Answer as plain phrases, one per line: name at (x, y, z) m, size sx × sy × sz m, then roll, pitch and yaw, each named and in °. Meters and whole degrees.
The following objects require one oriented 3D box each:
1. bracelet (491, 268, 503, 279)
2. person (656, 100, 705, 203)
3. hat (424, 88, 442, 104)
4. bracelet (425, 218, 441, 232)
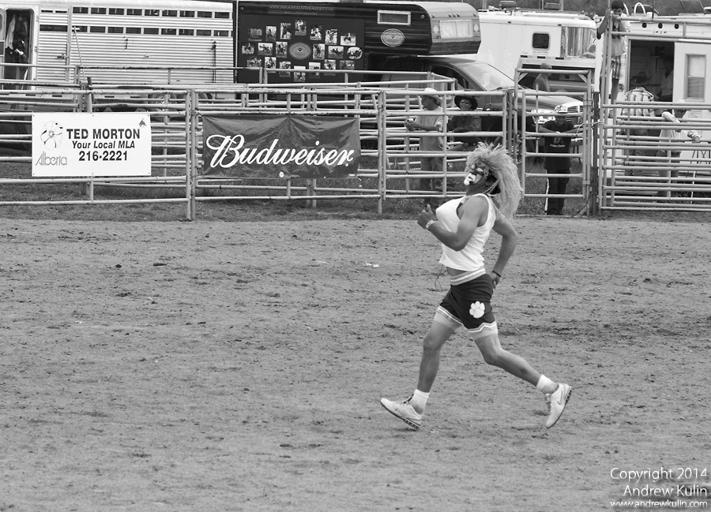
bracelet at (1.493, 0.207, 15.413) m, size 0.104 × 0.066 × 0.104 m, roll 22°, pitch 3°, yaw -12°
person at (5.737, -1.822, 25.962) m, size 0.673 × 1.563 × 1.247 m, roll 3°, pitch 5°, yaw 11°
hat at (1.308, -2.765, 25.037) m, size 0.370 × 0.131 × 0.388 m, roll 15°, pitch 7°, yaw -2°
bracelet at (0.787, -0.300, 15.085) m, size 0.134 × 0.082 × 0.123 m, roll -4°, pitch 3°, yaw -17°
